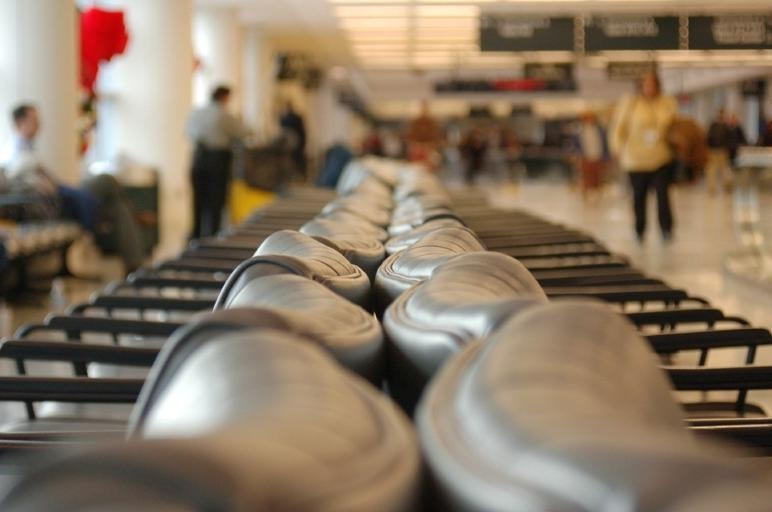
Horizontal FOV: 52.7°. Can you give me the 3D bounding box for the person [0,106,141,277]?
[{"bbox_3d":[-1.752,-0.297,4.534,0.619,1.071,1.015,-4,15,-13],"label":"person"}]
